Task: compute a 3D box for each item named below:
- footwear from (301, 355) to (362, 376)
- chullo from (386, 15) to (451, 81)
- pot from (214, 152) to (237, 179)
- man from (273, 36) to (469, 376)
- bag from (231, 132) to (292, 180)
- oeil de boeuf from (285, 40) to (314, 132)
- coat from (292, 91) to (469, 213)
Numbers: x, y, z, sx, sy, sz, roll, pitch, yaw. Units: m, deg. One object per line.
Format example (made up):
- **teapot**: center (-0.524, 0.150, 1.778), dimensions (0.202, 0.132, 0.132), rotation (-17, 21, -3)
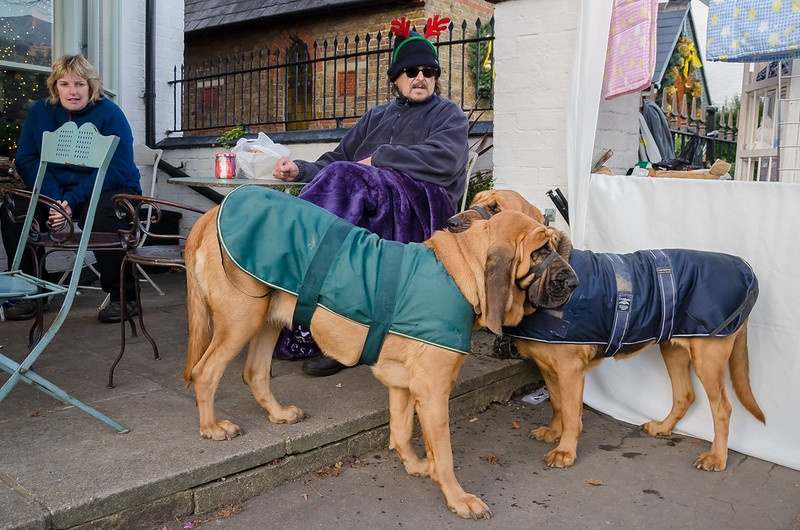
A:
- **footwear**: center (-0.527, 0.757, 4.738), dimensions (0.407, 0.161, 0.149), rotation (4, -1, -31)
- **chullo**: center (0.135, -1.859, 5.328), dimensions (0.503, 0.575, 0.593), rotation (8, 10, 31)
- **pot**: center (-1.348, -0.766, 4.737), dimensions (0.187, 0.203, 0.187), rotation (0, 3, 0)
- **man**: center (-0.256, -0.744, 5.185), dimensions (1.317, 2.948, 1.642), rotation (0, -5, 39)
- **bag**: center (-1.124, -0.875, 4.897), dimensions (0.465, 0.211, 0.367), rotation (8, 6, 32)
- **oeil de boeuf**: center (-2.245, -4.000, 13.799), dimensions (0.362, 1.698, 0.039), rotation (-9, 33, -19)
- **coat**: center (-0.104, -0.969, 5.341), dimensions (1.358, 1.000, 1.259), rotation (8, 21, 22)
